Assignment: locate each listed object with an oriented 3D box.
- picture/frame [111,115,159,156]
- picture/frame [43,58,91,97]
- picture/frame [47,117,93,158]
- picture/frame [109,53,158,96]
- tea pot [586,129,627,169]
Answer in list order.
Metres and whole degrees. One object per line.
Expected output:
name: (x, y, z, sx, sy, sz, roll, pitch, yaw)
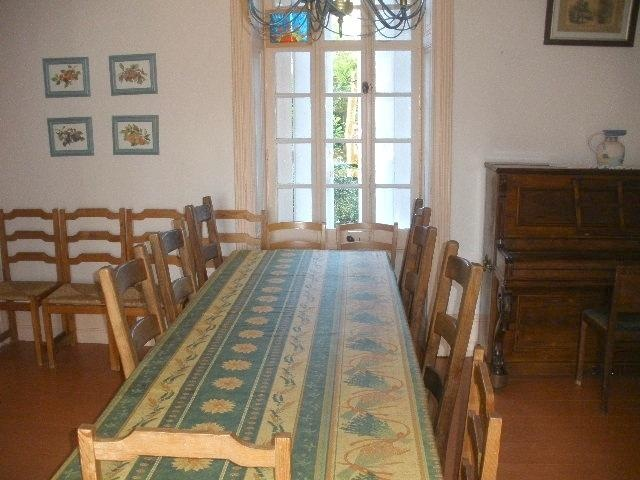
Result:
picture/frame: (-1.591, -0.921, 4.138, 0.348, 0.303, 0.033, 0, 18, 4)
picture/frame: (-2.176, -1.417, 4.123, 0.336, 0.297, 0.023, 0, 18, 3)
picture/frame: (-2.187, -0.913, 4.200, 0.344, 0.310, 0.026, 0, 7, 0)
picture/frame: (-1.578, -1.423, 4.063, 0.347, 0.295, 0.028, 0, 9, 3)
tea pot: (2.200, -0.701, 3.667, 0.251, 0.286, 0.482, 4, 13, 30)
